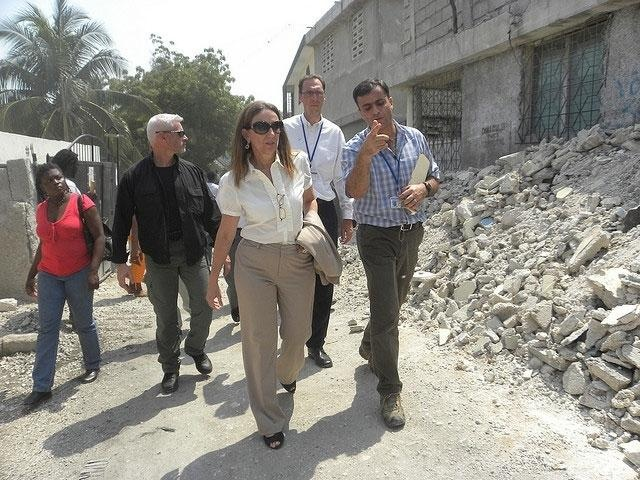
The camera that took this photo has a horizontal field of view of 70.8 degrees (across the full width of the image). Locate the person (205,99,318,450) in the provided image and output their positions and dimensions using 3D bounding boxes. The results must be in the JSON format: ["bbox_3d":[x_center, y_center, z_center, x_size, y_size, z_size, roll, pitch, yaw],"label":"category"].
[{"bbox_3d":[-0.312,0.275,3.691,0.993,2.718,0.926,-11,17,-33],"label":"person"}]

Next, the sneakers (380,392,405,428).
[{"bbox_3d":[0.626,1.423,3.861,0.156,0.204,0.437,-11,5,8],"label":"sneakers"}]

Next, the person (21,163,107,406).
[{"bbox_3d":[-2.677,0.418,4.762,0.830,2.396,0.606,-7,9,-27],"label":"person"}]

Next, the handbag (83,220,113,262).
[{"bbox_3d":[-2.399,0.024,4.861,0.308,0.445,0.223,-18,-9,18],"label":"handbag"}]

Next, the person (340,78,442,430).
[{"bbox_3d":[0.566,0.036,4.017,0.726,2.938,0.889,3,10,36],"label":"person"}]

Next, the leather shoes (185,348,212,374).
[{"bbox_3d":[-1.338,1.311,4.984,0.139,0.169,0.377,-8,23,-43],"label":"leather shoes"}]

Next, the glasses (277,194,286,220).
[{"bbox_3d":[-0.304,-0.260,3.576,0.075,0.205,0.066,-4,8,-7],"label":"glasses"}]

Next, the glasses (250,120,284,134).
[{"bbox_3d":[-0.407,-0.896,3.614,0.280,0.108,0.104,-7,9,-28],"label":"glasses"}]

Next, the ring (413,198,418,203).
[{"bbox_3d":[0.783,-0.327,3.733,0.039,0.040,0.010,0,2,-8],"label":"ring"}]

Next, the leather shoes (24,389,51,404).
[{"bbox_3d":[-2.843,1.610,4.611,0.091,0.126,0.266,-7,-12,35],"label":"leather shoes"}]
